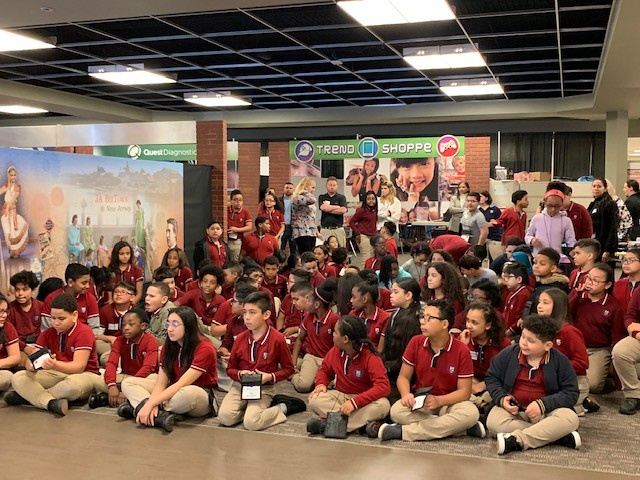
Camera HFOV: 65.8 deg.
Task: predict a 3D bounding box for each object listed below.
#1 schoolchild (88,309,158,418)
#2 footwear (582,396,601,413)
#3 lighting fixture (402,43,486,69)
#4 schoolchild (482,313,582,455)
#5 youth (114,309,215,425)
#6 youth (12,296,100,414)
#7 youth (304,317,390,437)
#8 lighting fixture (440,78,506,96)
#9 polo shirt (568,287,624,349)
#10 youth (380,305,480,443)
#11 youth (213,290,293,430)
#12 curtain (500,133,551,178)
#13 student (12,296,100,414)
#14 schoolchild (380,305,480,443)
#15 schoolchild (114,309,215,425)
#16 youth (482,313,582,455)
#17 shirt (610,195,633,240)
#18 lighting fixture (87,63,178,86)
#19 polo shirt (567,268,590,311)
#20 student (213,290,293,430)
[{"bbox_3d":[-1.759,1.038,4.406,0.621,0.780,0.728,-2,4,-7],"label":"schoolchild"},{"bbox_3d":[2.417,1.470,4.466,0.125,0.059,0.161,24,9,18],"label":"footwear"},{"bbox_3d":[2.447,-3.636,9.838,1.372,0.279,1.270,5,12,23],"label":"lighting fixture"},{"bbox_3d":[1.616,1.082,3.729,0.646,0.984,0.481,1,11,3],"label":"schoolchild"},{"bbox_3d":[-1.140,1.051,4.392,0.868,1.047,0.930,1,-2,44],"label":"youth"},{"bbox_3d":[-2.380,0.982,4.439,0.672,0.906,0.767,2,5,4],"label":"youth"},{"bbox_3d":[0.232,1.087,4.037,0.688,0.891,0.742,0,6,27],"label":"youth"},{"bbox_3d":[3.832,-3.843,12.533,1.450,0.247,2.019,4,12,18],"label":"lighting fixture"},{"bbox_3d":[2.617,0.767,4.731,0.388,0.622,0.538,6,-10,-43],"label":"polo shirt"},{"bbox_3d":[0.840,1.023,3.866,0.905,0.985,0.745,-3,5,-34],"label":"youth"},{"bbox_3d":[-0.558,1.005,4.146,0.568,1.075,0.539,3,12,17],"label":"youth"},{"bbox_3d":[6.354,-2.613,15.248,1.798,1.800,0.159,2,2,10],"label":"curtain"},{"bbox_3d":[-2.378,0.971,4.425,0.651,0.889,0.792,3,7,3],"label":"student"},{"bbox_3d":[0.885,1.021,3.911,0.718,0.983,0.820,1,3,22],"label":"schoolchild"},{"bbox_3d":[-1.257,1.049,4.190,0.732,0.868,0.768,-1,1,28],"label":"schoolchild"},{"bbox_3d":[1.587,1.073,3.788,0.746,0.919,0.763,-4,4,-16],"label":"youth"},{"bbox_3d":[5.232,-0.334,8.599,0.282,0.815,0.660,-3,12,37],"label":"shirt"},{"bbox_3d":[-4.314,-3.813,11.426,1.403,0.305,1.365,3,11,14],"label":"lighting fixture"},{"bbox_3d":[2.690,0.498,5.089,0.132,0.368,0.276,13,-8,13],"label":"polo shirt"},{"bbox_3d":[-0.558,1.005,4.146,0.568,1.075,0.539,3,12,17],"label":"student"}]
